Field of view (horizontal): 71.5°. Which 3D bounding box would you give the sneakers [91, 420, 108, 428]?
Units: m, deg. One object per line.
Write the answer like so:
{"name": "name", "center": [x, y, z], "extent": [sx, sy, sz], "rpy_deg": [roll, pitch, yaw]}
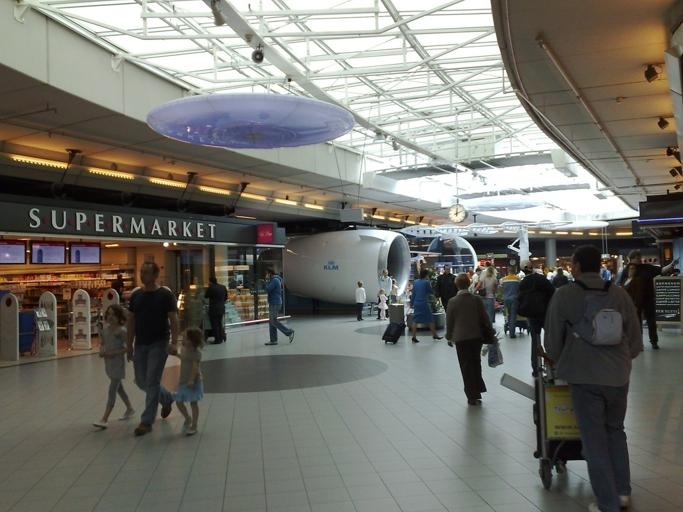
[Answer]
{"name": "sneakers", "center": [-3.482, 2.424, 6.877], "extent": [0.103, 0.106, 0.265], "rpy_deg": [-7, -17, 19]}

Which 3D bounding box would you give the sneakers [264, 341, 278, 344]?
{"name": "sneakers", "center": [-2.215, 2.700, 14.819], "extent": [0.387, 0.129, 0.131], "rpy_deg": [2, -4, 15]}

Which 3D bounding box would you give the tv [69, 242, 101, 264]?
{"name": "tv", "center": [-8.827, -0.109, 16.245], "extent": [0.407, 0.678, 1.357], "rpy_deg": [0, 0, 10]}

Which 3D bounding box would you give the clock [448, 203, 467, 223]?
{"name": "clock", "center": [5.659, -2.100, 23.125], "extent": [0.985, 0.934, 1.026], "rpy_deg": [-1, -1, 5]}

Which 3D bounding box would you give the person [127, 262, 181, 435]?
{"name": "person", "center": [-2.673, 1.265, 6.634], "extent": [0.856, 2.343, 0.501], "rpy_deg": [0, -1, 0]}

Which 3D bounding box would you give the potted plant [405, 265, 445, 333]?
{"name": "potted plant", "center": [2.583, 1.443, 14.138], "extent": [1.116, 2.008, 0.586], "rpy_deg": [1, -6, 3]}

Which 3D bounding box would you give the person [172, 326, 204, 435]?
{"name": "person", "center": [-2.152, 1.724, 6.685], "extent": [0.386, 1.422, 0.460], "rpy_deg": [0, -1, -16]}

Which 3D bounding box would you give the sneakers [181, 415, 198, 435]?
{"name": "sneakers", "center": [-2.116, 2.316, 6.607], "extent": [0.181, 0.229, 0.322], "rpy_deg": [0, 0, -20]}

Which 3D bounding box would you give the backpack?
{"name": "backpack", "center": [2.251, 0.497, 4.151], "extent": [0.409, 0.556, 0.270], "rpy_deg": [0, 0, 9]}

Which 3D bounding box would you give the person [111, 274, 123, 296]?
{"name": "person", "center": [-9.237, 1.160, 19.511], "extent": [0.416, 0.812, 1.576], "rpy_deg": [0, 0, -24]}

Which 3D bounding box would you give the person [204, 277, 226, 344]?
{"name": "person", "center": [-4.155, 1.744, 15.595], "extent": [0.645, 2.147, 0.653], "rpy_deg": [0, -1, -14]}

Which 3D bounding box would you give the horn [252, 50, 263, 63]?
{"name": "horn", "center": [-1.637, -3.838, 9.220], "extent": [0.218, 0.232, 0.130], "rpy_deg": [8, -2, 3]}
